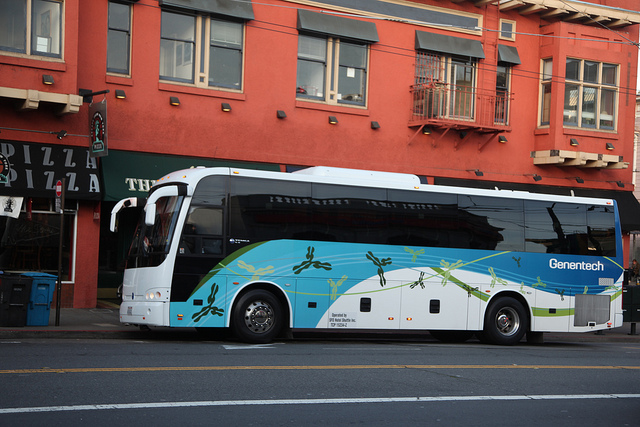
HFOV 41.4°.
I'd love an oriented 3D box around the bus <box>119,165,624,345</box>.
[{"bbox_3d":[1.940,1.225,25.381,14.890,4.457,4.073,4,-3,-22],"label":"bus"}]
